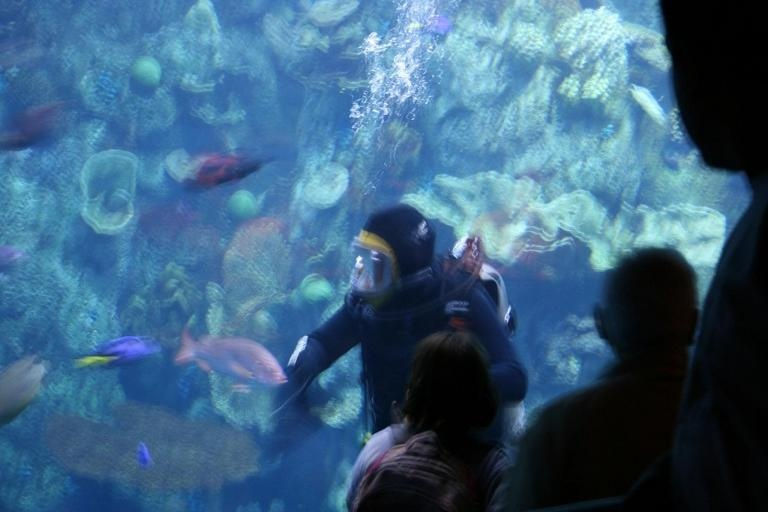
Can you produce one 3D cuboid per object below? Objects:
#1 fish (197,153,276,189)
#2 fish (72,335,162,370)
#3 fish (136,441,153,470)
[{"bbox_3d":[-2.509,-1.347,13.594,1.595,0.486,0.906,-10,21,-1],"label":"fish"},{"bbox_3d":[-3.978,1.427,12.403,0.966,0.646,0.680,26,-20,-35],"label":"fish"},{"bbox_3d":[-3.790,3.153,12.864,0.117,0.549,0.312,-9,13,-38],"label":"fish"}]
